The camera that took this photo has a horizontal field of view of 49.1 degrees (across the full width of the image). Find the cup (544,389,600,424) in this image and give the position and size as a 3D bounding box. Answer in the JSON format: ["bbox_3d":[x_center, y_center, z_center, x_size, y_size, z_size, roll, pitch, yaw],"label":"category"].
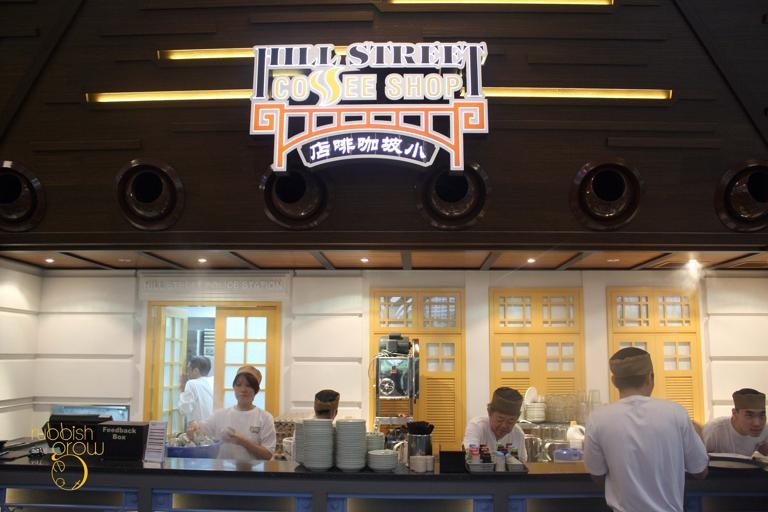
[{"bbox_3d":[2.050,1.658,9.195,0.493,0.229,0.324,-1,-14,9],"label":"cup"}]

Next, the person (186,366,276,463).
[{"bbox_3d":[-1.459,1.705,7.822,0.858,1.289,0.596,7,-13,-23],"label":"person"}]

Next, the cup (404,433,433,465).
[{"bbox_3d":[0.292,1.603,6.993,0.201,0.203,0.208,1,-11,0],"label":"cup"}]

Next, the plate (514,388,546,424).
[{"bbox_3d":[1.641,1.665,9.272,0.355,0.534,0.550,2,-14,0],"label":"plate"}]

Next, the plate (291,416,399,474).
[{"bbox_3d":[-0.401,1.551,6.961,0.614,0.297,0.471,-1,-9,0],"label":"plate"}]

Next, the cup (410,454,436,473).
[{"bbox_3d":[0.322,1.716,6.922,0.217,0.135,0.144,1,-10,-11],"label":"cup"}]

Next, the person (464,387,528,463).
[{"bbox_3d":[1.038,1.581,7.714,0.617,0.932,0.516,4,-18,0],"label":"person"}]

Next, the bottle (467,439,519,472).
[{"bbox_3d":[0.920,1.687,7.015,0.478,0.219,0.333,-2,-10,5],"label":"bottle"}]
